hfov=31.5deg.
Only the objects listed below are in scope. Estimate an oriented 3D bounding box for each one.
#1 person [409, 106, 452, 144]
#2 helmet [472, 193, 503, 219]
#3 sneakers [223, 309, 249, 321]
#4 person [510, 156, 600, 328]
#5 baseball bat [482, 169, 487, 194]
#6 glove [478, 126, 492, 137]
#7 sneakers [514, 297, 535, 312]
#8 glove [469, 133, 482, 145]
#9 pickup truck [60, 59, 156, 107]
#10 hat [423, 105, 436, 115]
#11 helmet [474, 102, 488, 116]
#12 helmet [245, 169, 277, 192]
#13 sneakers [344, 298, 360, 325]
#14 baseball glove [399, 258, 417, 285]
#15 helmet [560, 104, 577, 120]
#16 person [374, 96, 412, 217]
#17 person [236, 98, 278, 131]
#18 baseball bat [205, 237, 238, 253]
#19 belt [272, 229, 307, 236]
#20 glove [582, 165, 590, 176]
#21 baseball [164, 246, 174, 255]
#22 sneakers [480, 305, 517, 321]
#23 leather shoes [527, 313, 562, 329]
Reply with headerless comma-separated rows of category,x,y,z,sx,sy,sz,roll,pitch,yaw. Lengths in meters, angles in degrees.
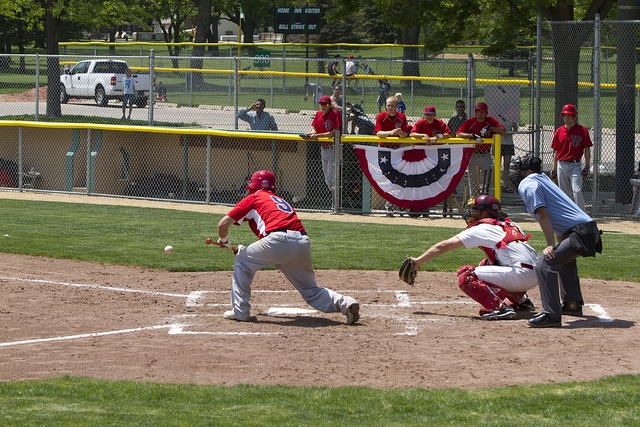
person,2.589,-2.093,26.640,0.947,0.887,0.669,0,4,6
helmet,3.019,-0.152,20.484,0.499,0.374,0.374,11,7,17
sneakers,-1.511,1.819,20.416,0.458,0.192,0.195,9,10,20
person,4.266,0.490,20.230,1.432,3.020,0.956,1,4,11
baseball bat,3.973,-0.818,27.506,0.138,0.137,0.654,-4,-40,12
glove,3.916,-1.958,26.758,0.284,0.251,0.086,-1,4,-20
sneakers,3.795,1.675,20.872,0.462,0.188,0.165,2,3,-38
glove,3.659,-1.817,26.687,0.127,0.120,0.415,-14,42,-17
pickup truck,-8.515,-5.090,44.164,4.744,1.922,0.968,3,5,37
hat,2.568,-2.443,26.718,0.321,0.233,0.456,1,4,12
helmet,3.799,-2.491,26.744,0.283,0.317,0.511,0,4,5
helmet,-1.049,-0.596,20.424,0.344,0.415,0.432,-8,17,-40
sneakers,0.574,1.734,20.304,0.211,0.480,0.236,-4,7,-34
baseball glove,1.580,1.034,20.301,0.239,0.482,0.281,11,-9,-22
helmet,5.696,-2.337,25.756,0.295,0.197,0.395,2,-5,44
person,1.706,-1.375,26.911,0.784,2.829,0.849,0,4,2
person,-1.649,-2.636,30.156,0.918,0.820,1.835,-1,4,-11
baseball bat,-1.949,0.617,22.387,0.670,0.115,0.136,25,-14,-15
belt,-0.530,0.314,20.076,0.627,0.108,0.116,-2,4,-23
glove,6.099,-1.014,25.978,0.170,0.234,0.240,9,5,18
baseball,-2.960,0.705,22.228,0.146,0.146,0.155,9,25,41
sneakers,3.240,1.807,20.545,0.678,0.279,0.225,2,-5,-2
leather shoes,3.960,1.890,20.111,0.592,0.272,0.238,3,2,-3
